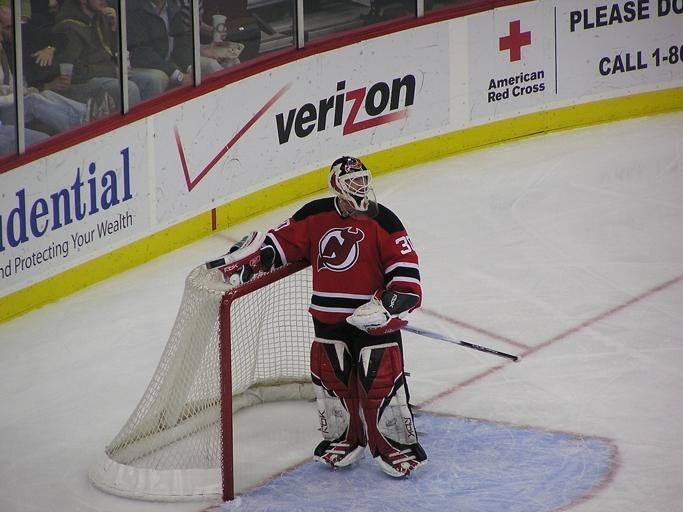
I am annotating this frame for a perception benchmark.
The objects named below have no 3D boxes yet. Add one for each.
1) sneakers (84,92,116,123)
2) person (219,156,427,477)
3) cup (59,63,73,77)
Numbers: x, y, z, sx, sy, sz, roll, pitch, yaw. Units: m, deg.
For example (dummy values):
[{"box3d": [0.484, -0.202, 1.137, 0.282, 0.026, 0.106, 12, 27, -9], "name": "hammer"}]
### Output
[{"box3d": [-1.796, -1.106, 7.324, 0.099, 0.119, 0.299, 2, -5, 1], "name": "sneakers"}, {"box3d": [-0.004, 0.341, 5.265, 0.866, 1.683, 0.454, -4, 15, 7], "name": "person"}, {"box3d": [-1.984, -1.335, 7.088, 0.087, 0.083, 0.082, 2, 21, -1], "name": "cup"}]
